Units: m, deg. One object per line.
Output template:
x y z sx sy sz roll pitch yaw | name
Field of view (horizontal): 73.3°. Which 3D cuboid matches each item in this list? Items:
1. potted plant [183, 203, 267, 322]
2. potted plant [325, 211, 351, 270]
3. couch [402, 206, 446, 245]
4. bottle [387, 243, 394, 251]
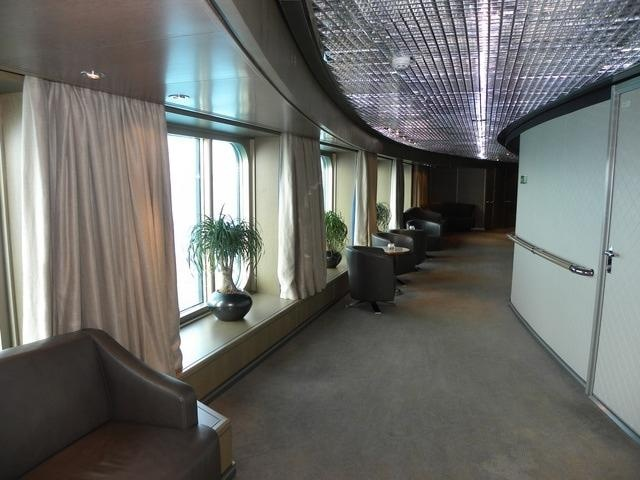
-1.058 0.329 4.894 0.856 1.215 0.764 -2 0 -28 | potted plant
0.267 0.005 7.952 0.287 1.056 0.660 7 14 34 | potted plant
2.930 -0.467 12.276 1.118 1.280 1.252 1 4 27 | couch
1.283 0.132 7.755 0.119 0.126 0.128 2 9 11 | bottle
